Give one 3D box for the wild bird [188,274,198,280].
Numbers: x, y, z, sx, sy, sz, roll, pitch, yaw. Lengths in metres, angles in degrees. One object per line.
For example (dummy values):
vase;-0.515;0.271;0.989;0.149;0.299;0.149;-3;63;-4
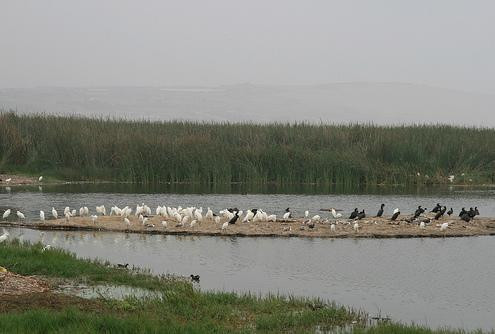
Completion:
wild bird;-3.229;6.277;51.086;0.550;0.219;0.666;0;6;-6
